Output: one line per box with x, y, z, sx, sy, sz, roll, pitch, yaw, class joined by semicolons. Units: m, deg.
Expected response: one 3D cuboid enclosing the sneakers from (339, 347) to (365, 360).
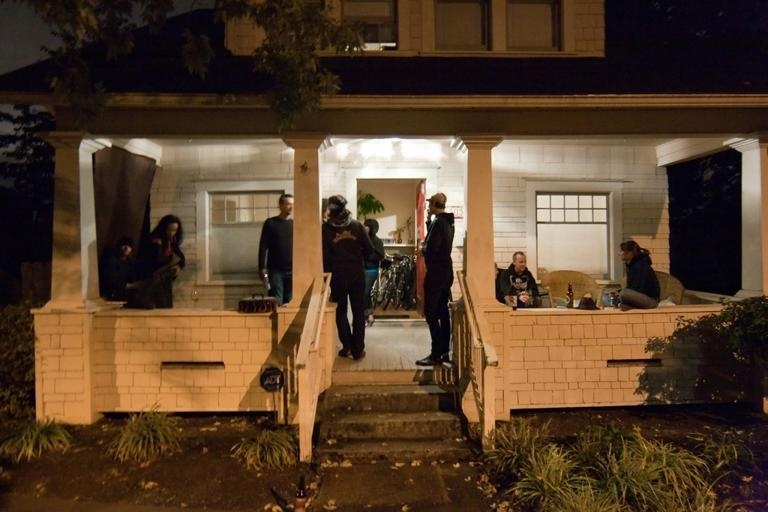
-0.587;1.720;14.725;0.398;0.201;0.198;0;2;2;sneakers

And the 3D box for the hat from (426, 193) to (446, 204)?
0.915;-1.002;14.594;0.265;0.170;0.191;8;5;18;hat

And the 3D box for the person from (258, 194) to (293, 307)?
-2.007;-0.109;15.443;0.734;1.762;0.446;1;-1;42;person

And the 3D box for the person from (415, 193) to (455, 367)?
0.892;0.377;14.672;0.656;2.960;1.026;2;-4;-10;person

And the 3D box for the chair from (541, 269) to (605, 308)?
3.637;0.582;16.392;0.773;0.892;0.755;1;-5;-4;chair

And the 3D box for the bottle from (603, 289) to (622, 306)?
4.221;0.796;15.481;0.344;0.303;0.521;9;6;10;bottle

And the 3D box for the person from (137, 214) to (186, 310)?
-4.102;0.095;15.532;0.796;1.637;0.901;2;-1;-23;person

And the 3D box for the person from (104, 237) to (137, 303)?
-4.766;0.246;15.046;0.499;1.077;0.303;2;-1;-19;person

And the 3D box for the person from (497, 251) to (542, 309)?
2.448;0.583;15.205;0.700;1.232;0.808;-5;11;-15;person

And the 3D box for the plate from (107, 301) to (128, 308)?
-4.742;0.868;14.857;0.283;0.117;0.610;2;-1;-11;plate

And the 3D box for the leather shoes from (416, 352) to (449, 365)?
0.843;1.764;14.438;0.556;0.258;0.219;3;-3;-5;leather shoes

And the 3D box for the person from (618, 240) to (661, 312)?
4.493;0.329;14.710;0.656;1.194;0.812;2;-1;18;person
